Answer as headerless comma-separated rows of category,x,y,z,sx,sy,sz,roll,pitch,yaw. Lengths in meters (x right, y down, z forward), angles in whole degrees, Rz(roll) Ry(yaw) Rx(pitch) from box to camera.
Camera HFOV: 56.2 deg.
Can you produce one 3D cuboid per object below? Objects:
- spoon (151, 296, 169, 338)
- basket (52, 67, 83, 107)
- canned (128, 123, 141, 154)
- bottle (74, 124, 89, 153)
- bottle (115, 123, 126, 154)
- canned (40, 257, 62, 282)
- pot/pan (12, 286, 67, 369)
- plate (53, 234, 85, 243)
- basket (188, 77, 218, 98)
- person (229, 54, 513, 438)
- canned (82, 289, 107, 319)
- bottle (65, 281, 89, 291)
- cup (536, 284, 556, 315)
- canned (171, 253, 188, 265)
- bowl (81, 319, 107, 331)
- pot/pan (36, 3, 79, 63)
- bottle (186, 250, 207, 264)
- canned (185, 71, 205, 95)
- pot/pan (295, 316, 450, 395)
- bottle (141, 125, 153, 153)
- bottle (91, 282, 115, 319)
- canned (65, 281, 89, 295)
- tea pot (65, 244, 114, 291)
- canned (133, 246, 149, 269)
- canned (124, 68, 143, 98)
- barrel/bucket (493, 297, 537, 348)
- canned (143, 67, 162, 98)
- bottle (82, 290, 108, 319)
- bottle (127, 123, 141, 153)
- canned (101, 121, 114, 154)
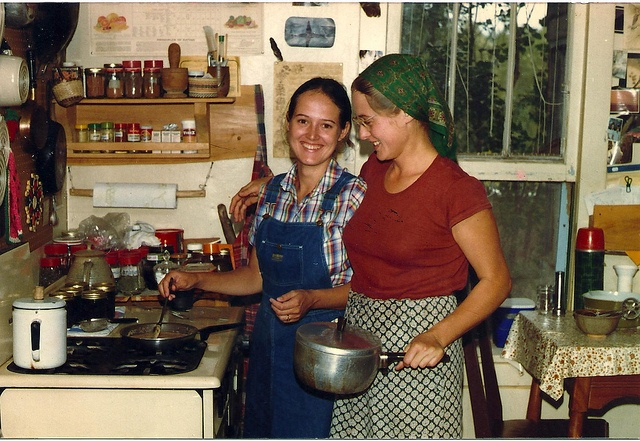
spoon,-0.752,0.459,2.825,0.036,0.185,0.028,27,13,31
basket,-1.414,-0.774,3.470,0.191,0.201,0.201,-14,6,-5
canned,-1.106,-0.523,3.557,0.073,0.114,0.055,-4,7,-17
bottle,-1.406,-0.490,3.546,0.079,0.167,0.080,-2,7,0
bottle,-1.186,-0.527,3.566,0.064,0.110,0.059,-2,7,0
canned,-1.407,0.264,3.128,0.114,0.145,0.061,-5,7,-24
pot/pan,-1.115,0.462,2.462,0.243,0.352,0.325,1,-2,-11
plate,-1.377,0.101,3.317,0.128,0.046,0.155,3,8,36
basket,-0.679,-0.775,3.468,0.134,0.086,0.131,1,0,27
person,0.338,0.136,2.391,0.532,1.587,0.653,-5,7,-24
canned,-1.032,0.394,2.808,0.129,0.128,0.124,1,-2,-3
bottle,-1.142,0.307,2.803,0.060,0.055,0.057,2,-4,-2
cup,1.340,0.468,3.541,0.168,0.148,0.115,-1,-1,16
canned,-0.778,0.214,3.316,0.071,0.039,0.067,-1,-3,-4
bowl,-1.024,0.478,2.712,0.069,0.029,0.071,-2,-5,0
pot/pan,-1.332,-0.969,3.017,0.092,0.265,0.276,12,7,-5
bottle,-0.705,0.211,3.431,0.080,0.049,0.077,0,6,0
canned,-0.720,-0.820,3.532,0.121,0.116,0.116,1,0,3
pot/pan,0.196,0.495,2.280,0.541,0.206,0.292,7,2,-2
bottle,-1.034,-0.517,3.563,0.072,0.099,0.046,-3,7,-10
bottle,-0.989,0.379,2.823,0.155,0.153,0.149,1,1,-17
canned,-1.134,0.311,2.792,0.077,0.069,0.073,3,-4,-5
tea pot,-1.111,0.244,2.967,0.189,0.216,0.236,1,3,-6
canned,-0.975,0.207,3.347,0.114,0.110,0.103,1,-1,-15
canned,-1.078,-0.800,3.475,0.102,0.174,0.047,-4,7,-14
barrel/bucket,1.135,0.585,3.667,0.312,0.287,0.284,5,6,26
canned,-0.976,-0.802,3.491,0.109,0.176,0.073,-4,7,-15
bottle,-1.034,0.385,2.746,0.131,0.131,0.125,1,-2,-4
bottle,-1.106,-0.523,3.557,0.073,0.114,0.055,-4,7,-17
canned,-1.260,-0.524,3.550,0.084,0.117,0.056,-4,7,-21
